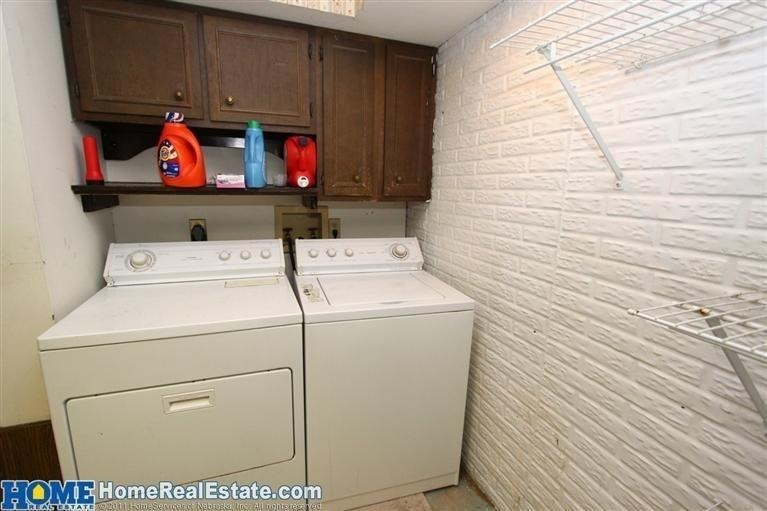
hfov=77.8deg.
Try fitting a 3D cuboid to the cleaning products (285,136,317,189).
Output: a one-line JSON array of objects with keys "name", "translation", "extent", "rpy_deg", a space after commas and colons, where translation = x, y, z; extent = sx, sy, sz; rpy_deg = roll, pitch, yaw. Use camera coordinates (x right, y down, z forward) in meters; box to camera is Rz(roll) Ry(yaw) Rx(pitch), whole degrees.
[{"name": "cleaning products", "translation": [-0.482, -0.551, 2.799], "extent": [0.187, 0.301, 0.111], "rpy_deg": [-6, 12, -10]}]

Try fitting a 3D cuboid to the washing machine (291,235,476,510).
[{"name": "washing machine", "translation": [-0.033, 0.618, 2.805], "extent": [0.970, 1.416, 0.709], "rpy_deg": [-6, 12, -11]}]

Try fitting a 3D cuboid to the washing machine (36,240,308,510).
[{"name": "washing machine", "translation": [-1.011, 0.573, 2.531], "extent": [1.147, 1.271, 0.683], "rpy_deg": [-6, 12, -13]}]

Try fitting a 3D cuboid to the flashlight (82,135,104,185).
[{"name": "flashlight", "translation": [-1.521, -0.495, 2.468], "extent": [0.077, 0.248, 0.124], "rpy_deg": [-11, 14, -32]}]
